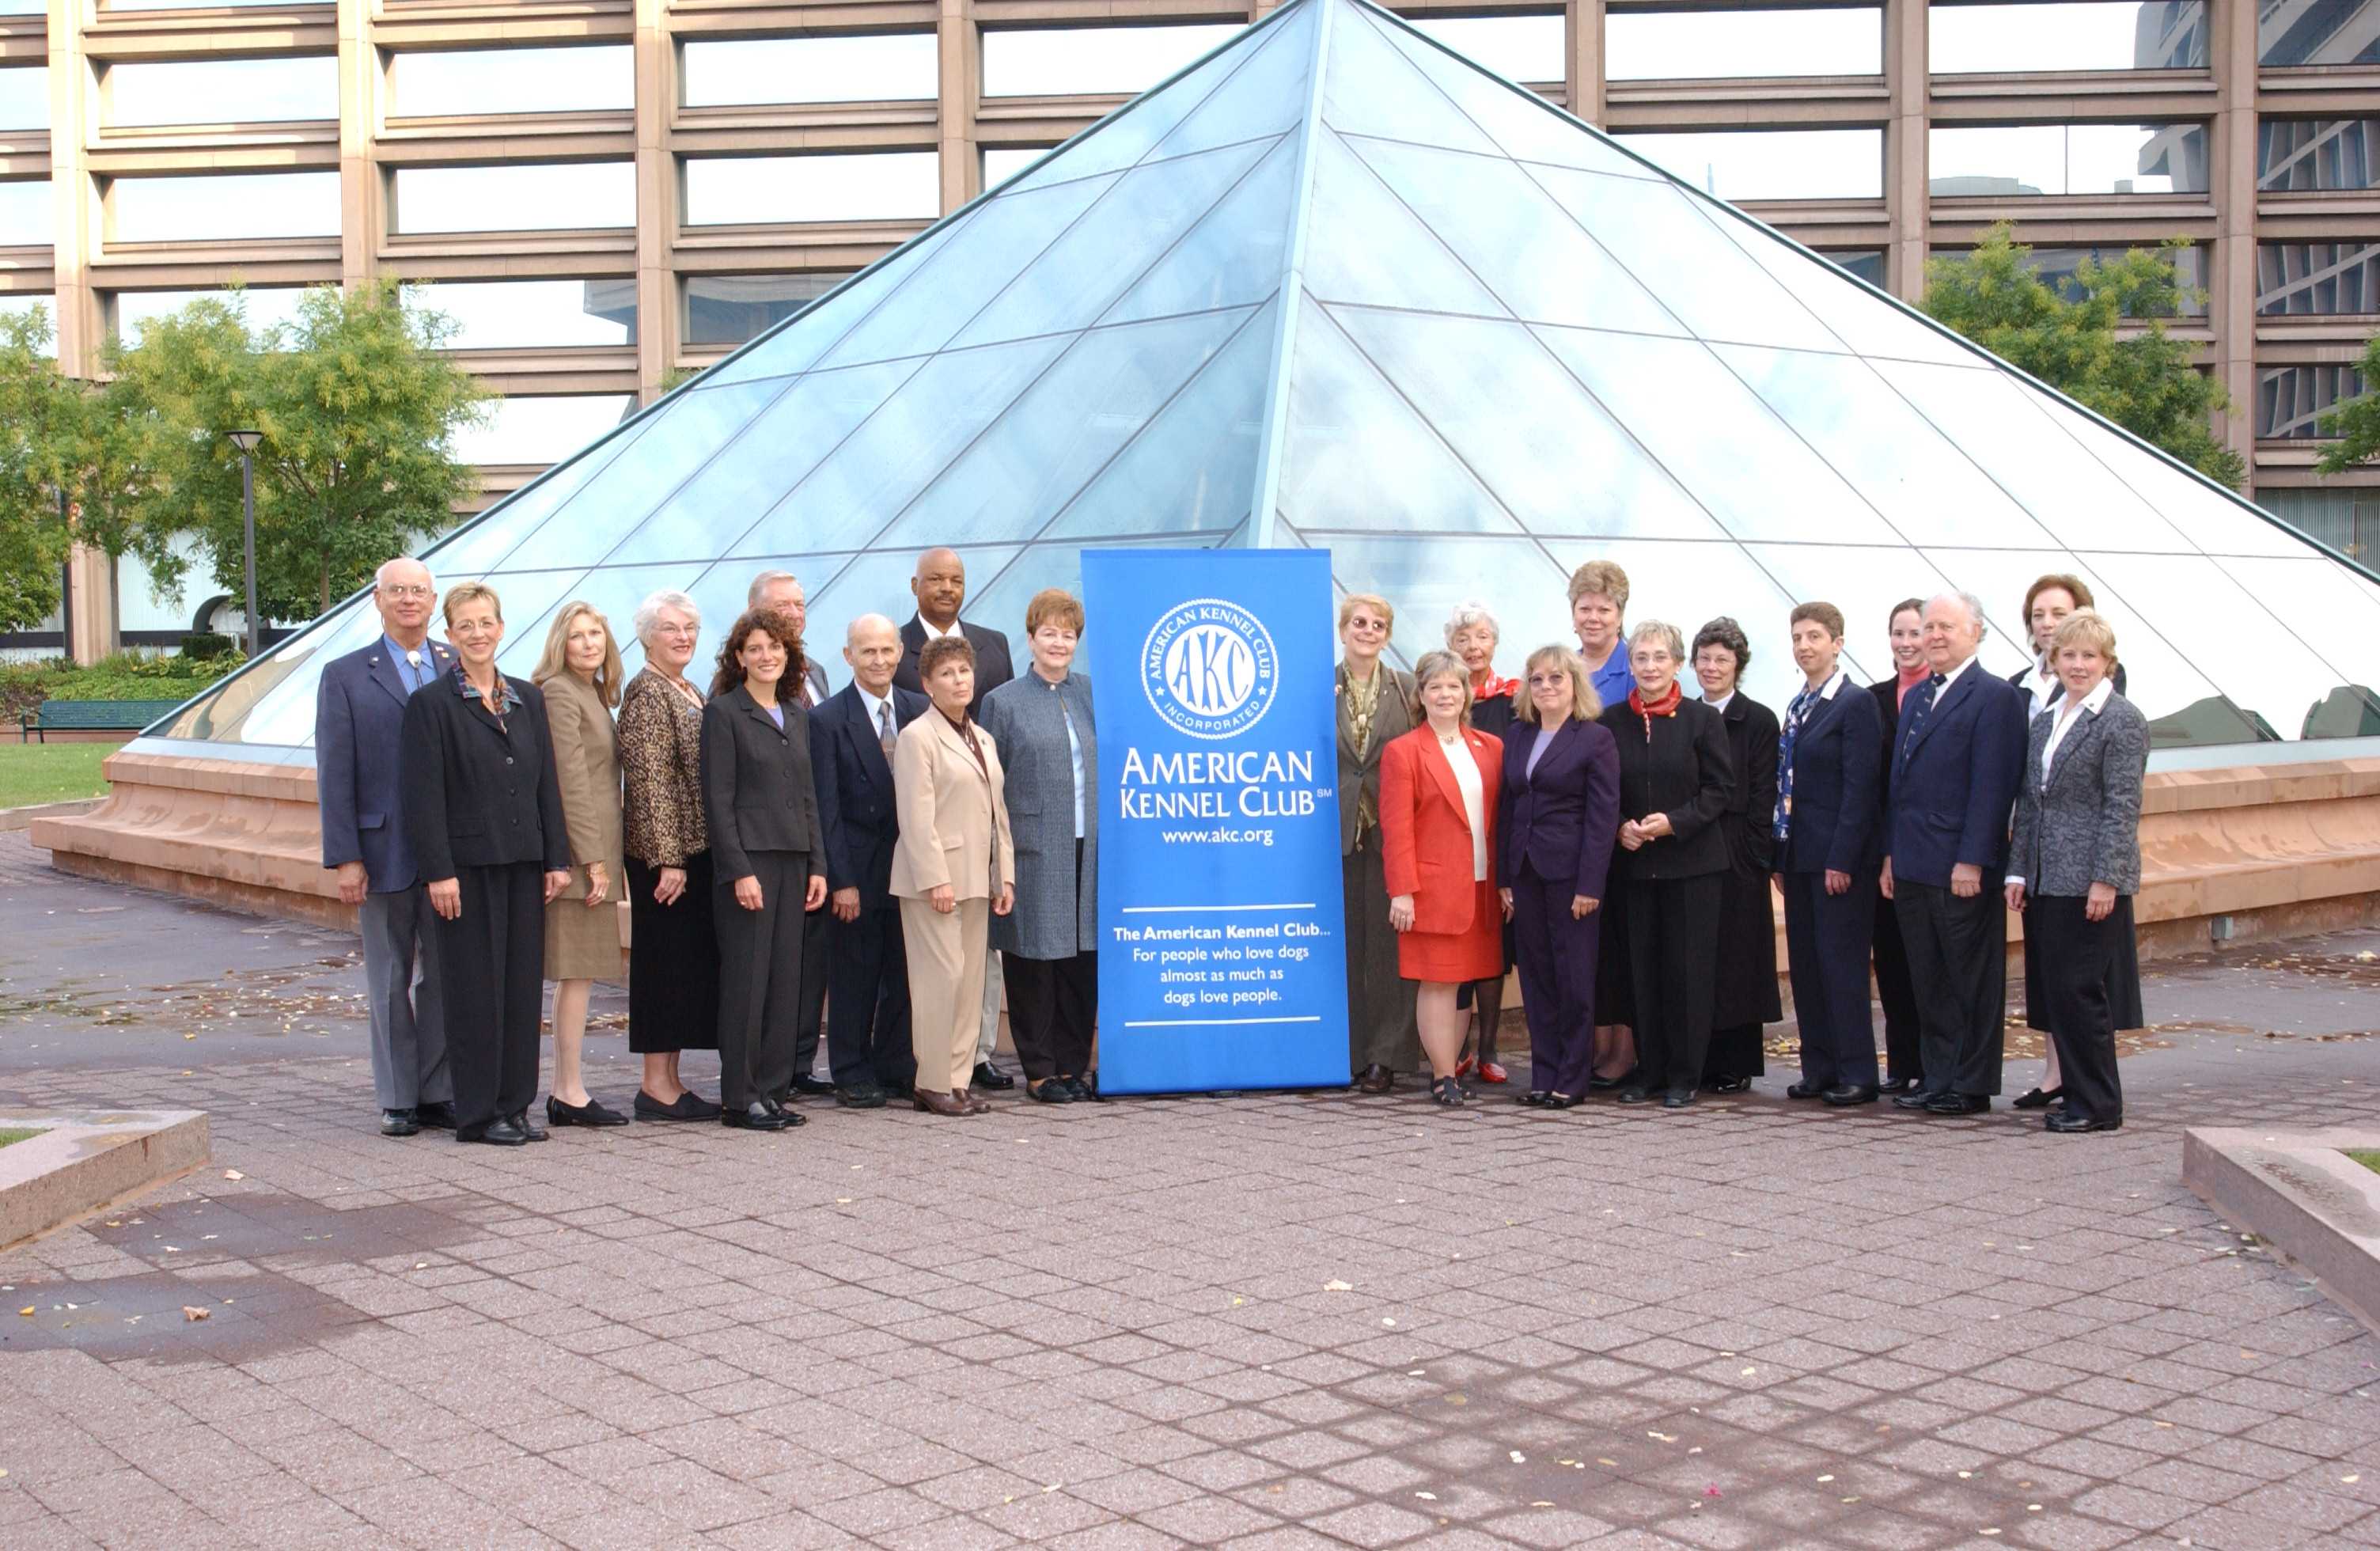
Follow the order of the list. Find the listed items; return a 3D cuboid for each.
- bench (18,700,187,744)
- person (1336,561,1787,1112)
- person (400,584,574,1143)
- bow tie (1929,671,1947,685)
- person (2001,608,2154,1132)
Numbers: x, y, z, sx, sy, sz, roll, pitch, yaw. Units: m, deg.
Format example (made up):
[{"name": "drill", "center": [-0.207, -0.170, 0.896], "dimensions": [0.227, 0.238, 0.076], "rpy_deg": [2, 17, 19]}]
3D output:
[{"name": "bench", "center": [-21.540, -1.150, 48.130], "dimensions": [2.135, 0.662, 3.973], "rpy_deg": [-1, 8, -1]}, {"name": "person", "center": [2.770, 0.333, 14.741], "dimensions": [1.427, 3.105, 1.067], "rpy_deg": [1, 9, 12]}, {"name": "person", "center": [-3.927, 0.484, 13.909], "dimensions": [0.836, 3.058, 0.718], "rpy_deg": [-6, 10, -31]}, {"name": "bow tie", "center": [4.361, -0.569, 14.451], "dimensions": [0.058, 0.055, 0.025], "rpy_deg": [-6, -36, 10]}, {"name": "person", "center": [4.986, 0.523, 13.969], "dimensions": [0.659, 2.805, 0.845], "rpy_deg": [2, 9, 17]}]
